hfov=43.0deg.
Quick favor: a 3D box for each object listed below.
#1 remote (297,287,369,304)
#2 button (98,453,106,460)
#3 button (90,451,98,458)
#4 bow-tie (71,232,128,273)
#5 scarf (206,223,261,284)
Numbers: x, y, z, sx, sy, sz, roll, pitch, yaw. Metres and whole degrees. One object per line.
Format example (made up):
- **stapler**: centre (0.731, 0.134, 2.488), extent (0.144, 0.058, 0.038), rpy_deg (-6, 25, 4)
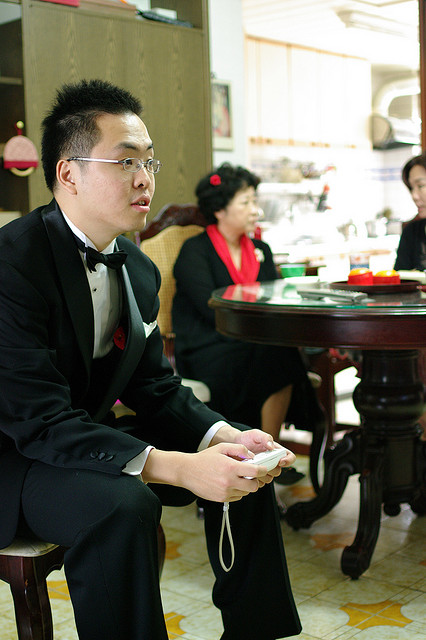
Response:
- **remote**: centre (0.313, -0.074, 1.441), extent (0.061, 0.047, 0.198), rpy_deg (-18, 18, -38)
- **button**: centre (-0.163, 0.201, 0.797), extent (0.011, 0.008, 0.008), rpy_deg (-1, -1, -5)
- **button**: centre (-0.176, 0.199, 0.797), extent (0.008, 0.003, 0.007), rpy_deg (12, 55, 7)
- **bow-tie**: centre (-0.190, -0.134, 1.000), extent (0.087, 0.034, 0.095), rpy_deg (1, 44, -5)
- **scarf**: centre (0.057, -0.290, 2.428), extent (0.221, 0.287, 0.085), rpy_deg (-18, -9, -40)
